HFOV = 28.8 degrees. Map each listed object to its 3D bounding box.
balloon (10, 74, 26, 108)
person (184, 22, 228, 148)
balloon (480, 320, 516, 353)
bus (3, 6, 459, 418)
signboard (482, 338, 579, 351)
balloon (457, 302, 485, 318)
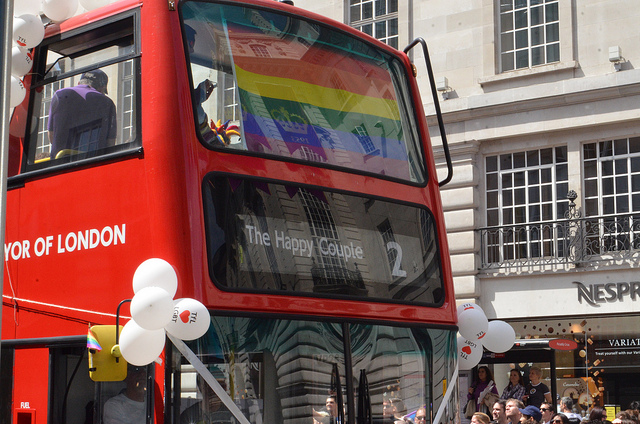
[{"bbox_3d":[-3.926,-1.561,16.140,0.204,0.426,0.320,-4,8,2],"label":"balloon"},{"bbox_3d":[-1.439,-1.581,15.591,0.402,1.565,0.651,-5,8,-5],"label":"person"},{"bbox_3d":[2.505,1.787,17.721,0.444,0.548,0.453,2,10,21],"label":"balloon"},{"bbox_3d":[-1.228,0.173,15.880,5.479,5.609,2.824,-5,8,-3],"label":"bus"},{"bbox_3d":[3.889,2.483,23.220,1.408,0.190,0.959,-6,-6,31],"label":"signboard"},{"bbox_3d":[2.037,1.401,17.509,0.212,0.258,0.224,10,23,20],"label":"balloon"}]
